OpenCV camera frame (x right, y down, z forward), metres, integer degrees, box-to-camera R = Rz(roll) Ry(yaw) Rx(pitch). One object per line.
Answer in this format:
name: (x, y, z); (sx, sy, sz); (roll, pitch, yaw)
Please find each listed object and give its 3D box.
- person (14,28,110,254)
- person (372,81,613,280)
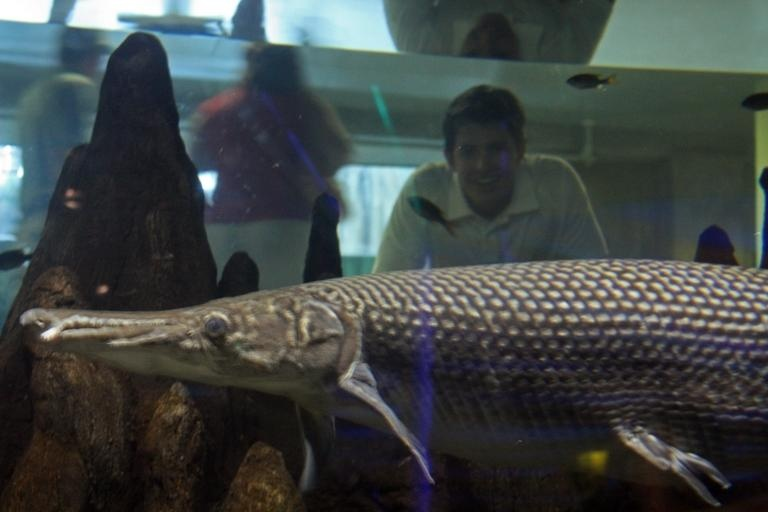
person: (-1.261, -0.475, 3.968); (0.311, 0.866, 0.212); (1, 3, -21)
person: (0.442, -0.218, 4.044); (1.023, 0.995, 0.511); (-4, 20, 4)
